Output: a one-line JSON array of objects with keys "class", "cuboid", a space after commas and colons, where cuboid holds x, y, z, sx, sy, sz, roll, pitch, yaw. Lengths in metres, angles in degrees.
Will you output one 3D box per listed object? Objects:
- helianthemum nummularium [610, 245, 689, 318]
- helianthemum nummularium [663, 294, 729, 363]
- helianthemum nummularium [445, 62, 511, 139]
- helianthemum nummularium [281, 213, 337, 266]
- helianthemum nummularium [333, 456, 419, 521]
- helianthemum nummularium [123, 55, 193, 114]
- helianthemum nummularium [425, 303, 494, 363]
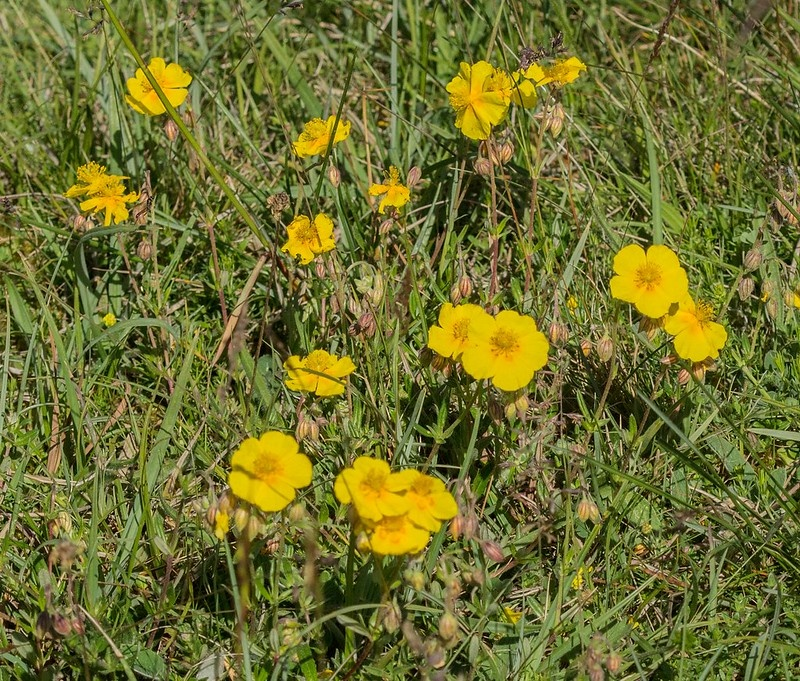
[{"class": "helianthemum nummularium", "cuboid": [0.802, -0.204, 2.802, 0.262, 0.098, 0.271, -21, 33, -36]}, {"class": "helianthemum nummularium", "cuboid": [0.993, -0.064, 2.884, 0.191, 0.194, 0.084, 46, 107, 24]}, {"class": "helianthemum nummularium", "cuboid": [0.295, -0.863, 3.155, 0.246, 0.177, 0.274, -4, 63, -11]}, {"class": "helianthemum nummularium", "cuboid": [-0.330, -0.336, 3.114, 0.180, 0.075, 0.180, -36, 75, -2]}, {"class": "helianthemum nummularium", "cuboid": [-0.077, 0.396, 2.326, 0.190, 0.043, 0.154, -3, 65, -12]}, {"class": "helianthemum nummularium", "cuboid": [-0.919, -0.947, 3.286, 0.214, 0.094, 0.268, 17, 72, 0]}, {"class": "helianthemum nummularium", "cuboid": [0.168, -0.032, 2.806, 0.147, 0.068, 0.196, -25, 54, 23]}]
